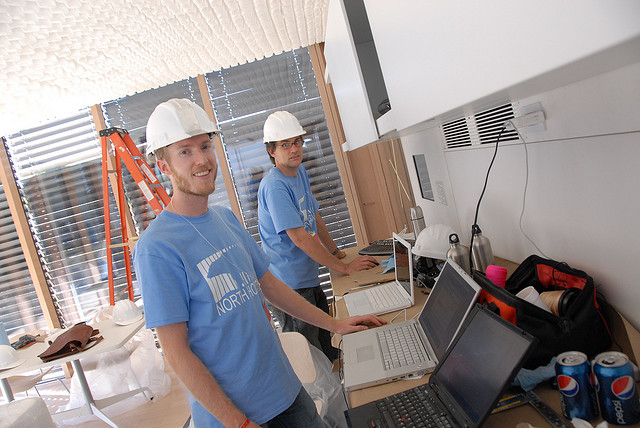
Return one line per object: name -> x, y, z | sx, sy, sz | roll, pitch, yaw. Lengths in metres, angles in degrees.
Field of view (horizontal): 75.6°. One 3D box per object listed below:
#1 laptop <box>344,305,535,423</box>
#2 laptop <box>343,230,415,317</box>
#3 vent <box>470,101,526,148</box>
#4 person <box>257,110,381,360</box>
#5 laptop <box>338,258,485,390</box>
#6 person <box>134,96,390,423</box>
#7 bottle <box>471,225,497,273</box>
laptop -> 0.401, 0.416, 1.406 | 0.500, 0.305, 0.463 | -17, 5, 0
laptop -> 0.295, 0.331, 2.344 | 0.366, 0.333, 0.509 | -9, 3, 3
vent -> 0.814, -0.418, 1.982 | 0.162, 0.157, 0.264 | 2, 9, 4
person -> -0.001, 0.397, 2.920 | 0.696, 2.214, 0.677 | -4, 15, 6
laptop -> 0.370, 0.547, 1.763 | 0.553, 0.341, 0.515 | -14, 13, 4
person -> -0.324, 0.222, 1.745 | 0.845, 1.409, 0.412 | 4, -4, -25
bottle -> 0.783, 0.179, 2.020 | 0.104, 0.291, 0.105 | -15, 19, 5
